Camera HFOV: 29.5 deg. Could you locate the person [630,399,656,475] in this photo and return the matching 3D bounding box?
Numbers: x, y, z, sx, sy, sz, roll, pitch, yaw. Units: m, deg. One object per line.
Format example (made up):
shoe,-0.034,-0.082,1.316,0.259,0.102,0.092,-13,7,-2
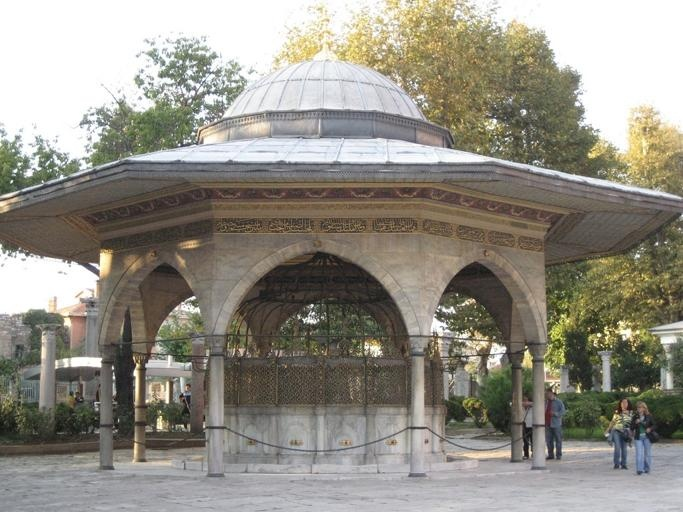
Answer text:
person,6.886,4.131,29.617,0.501,1.667,0.963,-5,-14,12
